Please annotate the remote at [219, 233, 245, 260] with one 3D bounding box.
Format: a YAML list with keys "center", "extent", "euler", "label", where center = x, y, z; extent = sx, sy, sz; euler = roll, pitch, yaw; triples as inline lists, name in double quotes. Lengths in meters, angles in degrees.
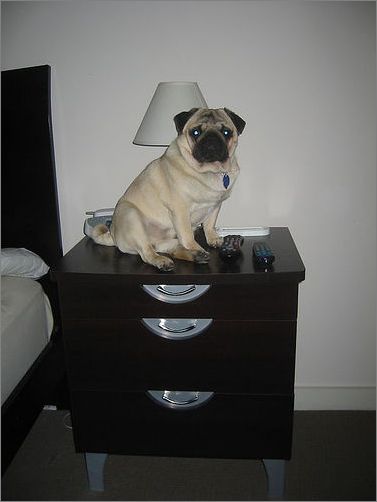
- center: [0.109, -0.008, 1.154]
  extent: [0.046, 0.029, 0.083]
  euler: [4, 34, 15]
  label: "remote"

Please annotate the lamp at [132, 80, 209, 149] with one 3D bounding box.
- center: [-0.051, -0.389, 1.205]
  extent: [0.195, 0.125, 0.178]
  euler: [1, 28, -3]
  label: "lamp"

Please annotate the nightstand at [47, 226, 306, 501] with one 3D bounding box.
- center: [-0.104, 0.377, 1.479]
  extent: [0.847, 0.849, 0.597]
  euler: [0, 16, 5]
  label: "nightstand"
